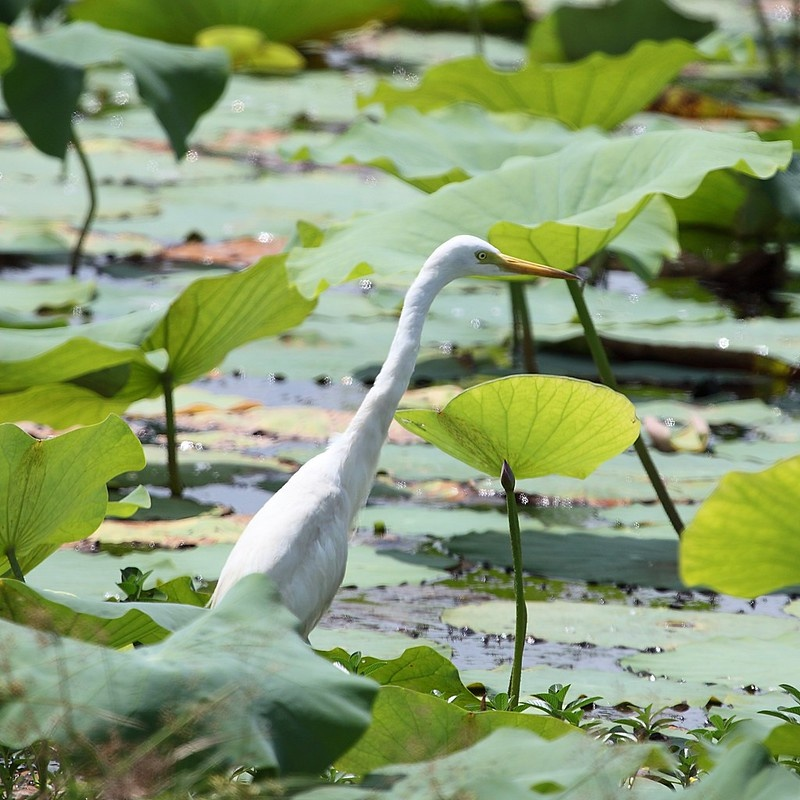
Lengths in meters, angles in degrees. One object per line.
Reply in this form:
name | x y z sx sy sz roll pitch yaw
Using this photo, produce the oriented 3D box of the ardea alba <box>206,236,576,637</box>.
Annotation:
ardea alba | -0.047 0.041 1.939 0.228 0.716 0.693 5 7 37
